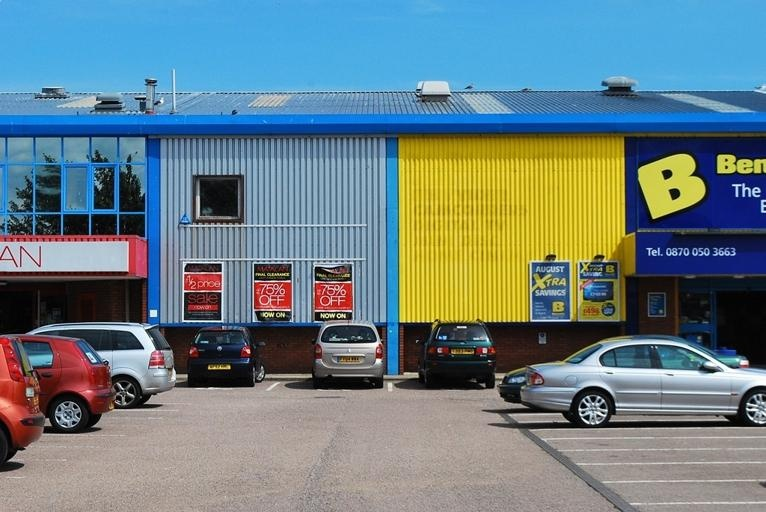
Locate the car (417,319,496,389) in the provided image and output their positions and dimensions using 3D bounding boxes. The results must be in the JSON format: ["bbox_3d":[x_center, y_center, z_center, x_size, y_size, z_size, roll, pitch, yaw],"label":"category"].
[{"bbox_3d":[2.306,3.110,35.402,2.120,2.355,1.893,-2,12,-1],"label":"car"}]

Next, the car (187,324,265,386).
[{"bbox_3d":[-4.983,3.008,35.534,1.598,1.115,2.472,0,0,-3],"label":"car"}]
